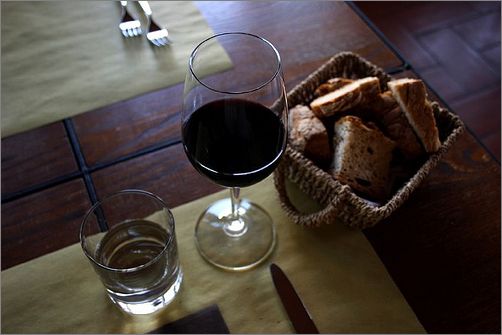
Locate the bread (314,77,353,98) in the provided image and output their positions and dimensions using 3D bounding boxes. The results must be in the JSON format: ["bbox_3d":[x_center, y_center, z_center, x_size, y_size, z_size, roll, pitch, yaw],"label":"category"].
[{"bbox_3d":[0.197,-0.200,1.025,0.055,0.058,0.016,-33,97,21],"label":"bread"}]

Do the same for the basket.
[{"bbox_3d":[0.273,-0.021,1.068,0.149,0.406,0.483,34,80,32],"label":"basket"}]

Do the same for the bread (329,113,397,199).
[{"bbox_3d":[0.243,-0.018,0.982,0.178,0.043,0.178,27,69,-27],"label":"bread"}]

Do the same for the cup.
[{"bbox_3d":[-0.217,0.153,0.918,0.202,0.242,0.257,-11,63,-9],"label":"cup"}]

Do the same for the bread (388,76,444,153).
[{"bbox_3d":[0.377,-0.124,0.993,0.091,0.048,0.187,-13,85,-24],"label":"bread"}]
